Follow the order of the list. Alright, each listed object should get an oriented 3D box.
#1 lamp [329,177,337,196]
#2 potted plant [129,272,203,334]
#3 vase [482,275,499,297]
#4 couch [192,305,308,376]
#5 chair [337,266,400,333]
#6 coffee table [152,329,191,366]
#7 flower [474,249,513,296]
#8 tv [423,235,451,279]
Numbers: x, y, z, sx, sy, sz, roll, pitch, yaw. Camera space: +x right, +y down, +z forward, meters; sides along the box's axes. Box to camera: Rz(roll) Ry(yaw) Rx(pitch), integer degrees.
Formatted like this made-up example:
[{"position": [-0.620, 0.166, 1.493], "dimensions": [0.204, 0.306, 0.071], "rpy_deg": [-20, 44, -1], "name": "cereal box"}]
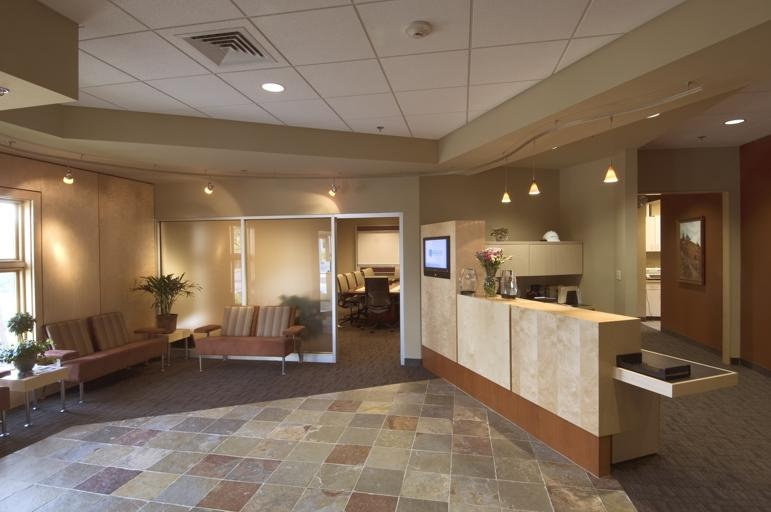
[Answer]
[{"position": [-0.918, -1.200, 9.030], "dimensions": [0.138, 0.318, 0.239], "rpy_deg": [-3, 7, -16], "name": "lamp"}, {"position": [-3.896, 0.828, 9.442], "dimensions": [1.073, 0.953, 1.031], "rpy_deg": [1, 0, 10], "name": "potted plant"}, {"position": [1.504, 0.402, 7.204], "dimensions": [0.197, 0.313, 0.177], "rpy_deg": [-2, 7, -9], "name": "vase"}, {"position": [-2.327, 1.438, 8.977], "dimensions": [1.819, 1.008, 0.870], "rpy_deg": [-1, 7, 7], "name": "couch"}, {"position": [-0.412, 1.025, 11.658], "dimensions": [1.227, 0.796, 1.831], "rpy_deg": [0, 0, 5], "name": "chair"}, {"position": [-3.771, 1.716, 9.234], "dimensions": [0.569, 0.622, 0.969], "rpy_deg": [1, -3, 6], "name": "coffee table"}, {"position": [1.506, 0.196, 7.402], "dimensions": [0.587, 0.689, 0.666], "rpy_deg": [0, -5, 6], "name": "flower"}, {"position": [0.823, 0.008, 8.056], "dimensions": [0.079, 0.593, 0.726], "rpy_deg": [2, -3, -19], "name": "tv"}]
